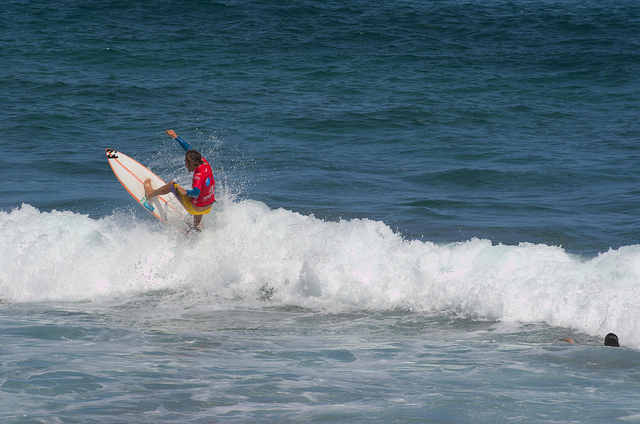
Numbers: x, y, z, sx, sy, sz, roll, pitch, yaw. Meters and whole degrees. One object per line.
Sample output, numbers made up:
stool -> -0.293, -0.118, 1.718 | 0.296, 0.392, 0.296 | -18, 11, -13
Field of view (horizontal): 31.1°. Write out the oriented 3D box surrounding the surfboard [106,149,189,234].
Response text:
surfboard -> -5.432, -0.763, 36.645 | 0.984, 2.325, 2.589 | -27, 32, -33
